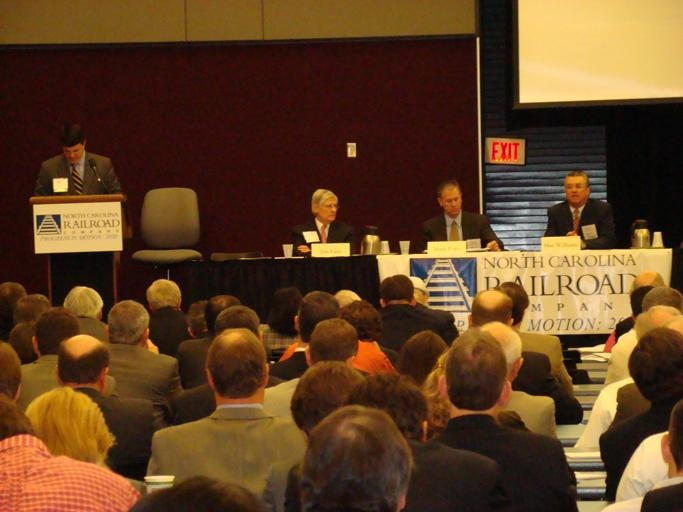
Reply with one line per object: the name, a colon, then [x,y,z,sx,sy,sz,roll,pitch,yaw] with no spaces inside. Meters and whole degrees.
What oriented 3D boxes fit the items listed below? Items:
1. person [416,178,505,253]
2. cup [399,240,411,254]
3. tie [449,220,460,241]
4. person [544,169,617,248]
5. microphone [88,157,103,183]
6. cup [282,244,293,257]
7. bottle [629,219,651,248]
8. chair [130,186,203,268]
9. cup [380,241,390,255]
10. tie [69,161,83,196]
person: [1.028,-0.375,6.698,0.646,0.600,0.716,-2,1,6]
cup: [0.503,-0.076,6.344,0.111,0.125,0.116,-1,2,0]
tie: [1.017,-0.234,6.847,0.104,0.164,0.101,-2,1,-6]
person: [2.077,-0.409,6.519,0.541,0.674,0.787,-2,1,-3]
microphone: [-2.135,-0.735,6.579,0.062,0.293,0.070,-14,-34,-4]
cup: [-0.445,-0.052,6.385,0.099,0.118,0.102,-1,2,0]
bottle: [2.479,-0.188,6.316,0.128,0.219,0.470,-1,2,20]
chair: [-1.703,-0.307,7.628,0.721,0.917,0.759,0,-5,-4]
cup: [0.365,-0.075,6.412,0.108,0.121,0.105,-1,-1,0]
tie: [-2.319,-0.683,6.661,0.095,0.181,0.114,-3,2,-42]
